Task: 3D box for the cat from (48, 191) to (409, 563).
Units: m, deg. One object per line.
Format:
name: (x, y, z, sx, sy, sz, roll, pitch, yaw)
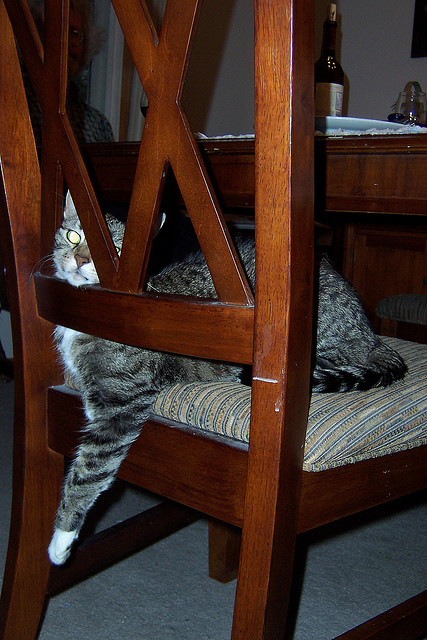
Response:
cat: (0.048, 0.068, 1.066, 0.575, 0.923, 0.526, -4, 25, -7)
